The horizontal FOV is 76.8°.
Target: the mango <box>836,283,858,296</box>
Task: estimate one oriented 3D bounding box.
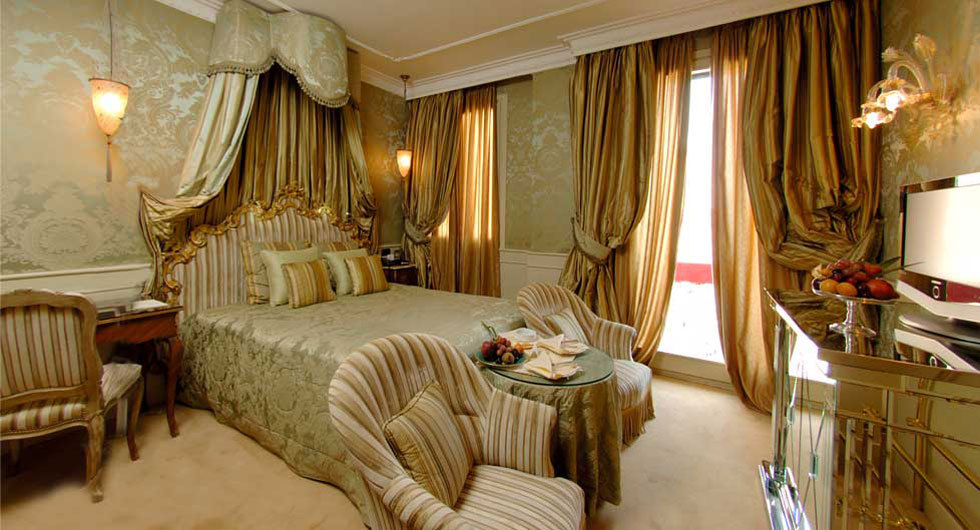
[{"bbox_3d":[2.789,0.179,4.858,0.097,0.077,0.123,-40,39,-13],"label":"mango"}]

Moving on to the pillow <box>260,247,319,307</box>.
[{"bbox_3d":[-2.174,0.139,6.646,0.197,0.409,0.564,6,15,27],"label":"pillow"}]

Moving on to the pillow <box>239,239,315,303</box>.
[{"bbox_3d":[-2.367,0.062,6.689,0.692,0.665,0.293,3,-22,-32],"label":"pillow"}]

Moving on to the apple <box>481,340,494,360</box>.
[{"bbox_3d":[-0.021,0.755,5.589,0.058,0.148,0.117,-19,8,41],"label":"apple"}]

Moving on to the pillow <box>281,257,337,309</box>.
[{"bbox_3d":[-1.959,0.183,6.763,0.285,0.475,0.604,14,15,35],"label":"pillow"}]

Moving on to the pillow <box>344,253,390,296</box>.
[{"bbox_3d":[-1.431,0.077,7.133,0.148,0.445,0.489,-29,-19,39],"label":"pillow"}]

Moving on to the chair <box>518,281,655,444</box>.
[{"bbox_3d":[0.908,0.882,6.118,1.295,1.361,1.157,4,9,25],"label":"chair"}]

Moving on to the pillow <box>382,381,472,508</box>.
[{"bbox_3d":[-0.491,1.429,4.981,0.552,0.909,0.474,2,7,21],"label":"pillow"}]

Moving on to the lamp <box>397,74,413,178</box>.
[{"bbox_3d":[-1.195,-1.891,8.446,0.221,1.340,0.433,-1,6,-7],"label":"lamp"}]

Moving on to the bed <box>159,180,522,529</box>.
[{"bbox_3d":[-1.315,0.602,6.742,3.274,2.386,2.850,2,5,27],"label":"bed"}]

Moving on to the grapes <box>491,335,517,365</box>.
[{"bbox_3d":[0.117,0.765,5.591,0.156,0.092,0.258,4,14,-28],"label":"grapes"}]

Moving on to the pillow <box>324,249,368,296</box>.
[{"bbox_3d":[-1.696,0.052,7.082,0.515,0.463,0.148,-5,-11,-20],"label":"pillow"}]

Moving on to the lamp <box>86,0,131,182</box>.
[{"bbox_3d":[-3.728,-1.740,6.090,0.359,1.798,0.206,-4,8,-31],"label":"lamp"}]

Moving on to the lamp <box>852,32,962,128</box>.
[{"bbox_3d":[3.695,-1.726,5.682,0.575,0.816,0.870,0,6,6],"label":"lamp"}]

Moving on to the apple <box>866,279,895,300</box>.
[{"bbox_3d":[3.027,0.181,4.826,0.167,0.162,0.170,11,23,32],"label":"apple"}]

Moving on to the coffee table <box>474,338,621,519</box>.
[{"bbox_3d":[0.525,1.478,5.800,1.288,0.898,1.242,2,6,39],"label":"coffee table"}]

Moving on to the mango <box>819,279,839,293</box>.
[{"bbox_3d":[2.669,0.158,4.902,0.111,0.059,0.109,-8,6,-2],"label":"mango"}]
